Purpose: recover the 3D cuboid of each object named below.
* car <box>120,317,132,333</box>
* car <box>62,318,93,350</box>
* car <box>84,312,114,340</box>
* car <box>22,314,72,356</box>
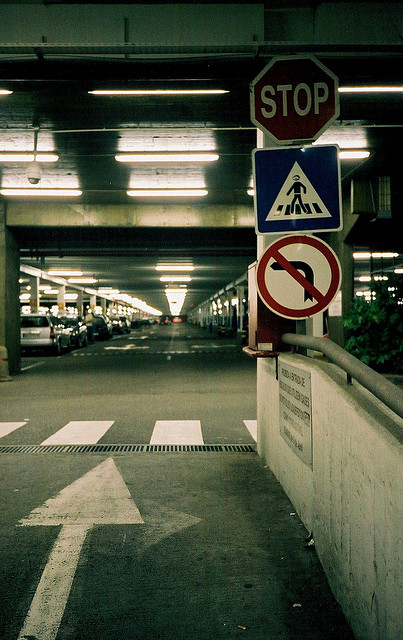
[{"bbox_3d":[-7.999,0.514,65.786,1.100,1.069,2.036,0,-6,-5],"label":"car"},{"bbox_3d":[-6.302,0.685,30.746,1.089,1.240,2.995,-1,-3,-1],"label":"car"},{"bbox_3d":[-6.872,0.381,40.182,1.556,1.443,3.770,0,6,-3],"label":"car"},{"bbox_3d":[-6.221,0.478,24.878,1.019,1.053,2.679,0,3,2],"label":"car"}]
